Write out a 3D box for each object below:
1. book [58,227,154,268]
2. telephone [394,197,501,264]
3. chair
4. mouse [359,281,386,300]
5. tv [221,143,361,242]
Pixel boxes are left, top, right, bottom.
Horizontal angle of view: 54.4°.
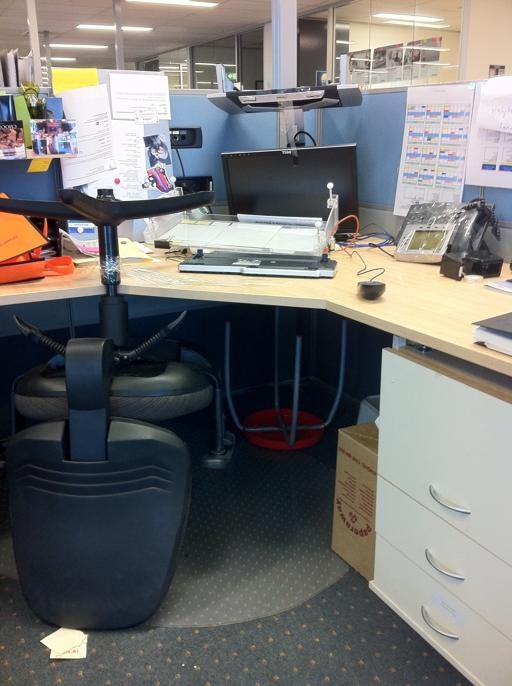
[{"bbox_3d":[-0.521,-0.318,1.726,0.210,0.090,0.224,-8,31,-23],"label":"book"},{"bbox_3d":[0.642,-0.394,1.738,0.359,0.162,0.321,-21,32,-38],"label":"telephone"},{"bbox_3d":[-0.394,0.156,1.216,0.517,1.021,0.511,0,12,2],"label":"chair"},{"bbox_3d":[0.276,-0.130,1.178,0.049,0.035,0.048,6,19,23],"label":"mouse"},{"bbox_3d":[0.137,-0.632,1.998,0.532,0.269,0.105,2,13,10],"label":"tv"}]
